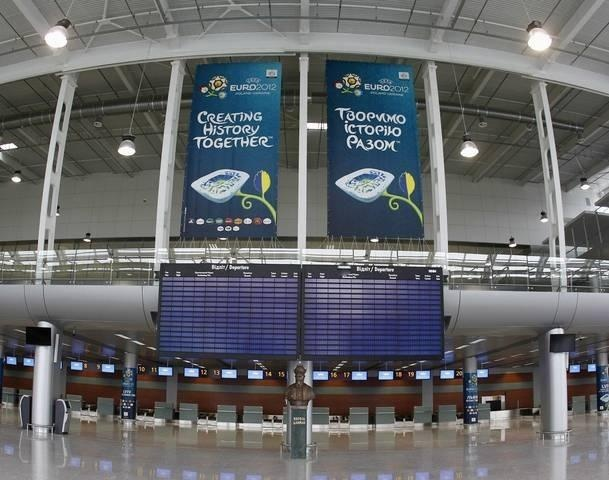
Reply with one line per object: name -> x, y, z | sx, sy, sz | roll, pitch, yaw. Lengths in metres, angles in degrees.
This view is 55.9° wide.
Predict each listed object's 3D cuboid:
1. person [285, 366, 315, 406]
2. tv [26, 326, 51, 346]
person -> -0.192, 4.888, 19.366 | 0.922, 1.305, 0.711 | 5, -14, -34
tv -> -10.174, 3.662, 21.970 | 0.810, 0.542, 0.104 | 3, 4, -2
